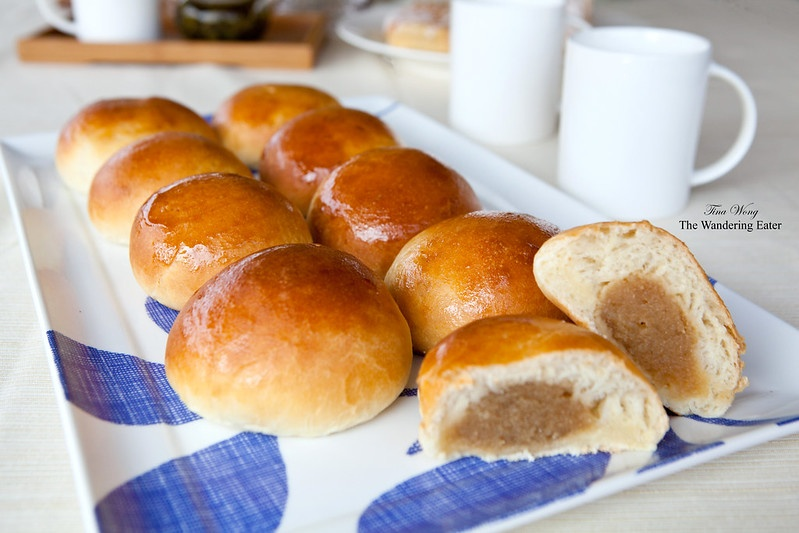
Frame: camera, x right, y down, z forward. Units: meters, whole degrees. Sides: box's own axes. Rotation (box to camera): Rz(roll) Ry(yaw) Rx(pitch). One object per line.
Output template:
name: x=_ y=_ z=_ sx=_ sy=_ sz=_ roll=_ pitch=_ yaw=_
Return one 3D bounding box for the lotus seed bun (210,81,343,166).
lotus seed bun: x=-0.223 y=-0.248 z=1.190 sx=0.158 sy=0.086 sz=0.159 roll=14 pitch=27 yaw=16

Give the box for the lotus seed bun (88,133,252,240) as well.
lotus seed bun: x=-0.346 y=-0.126 z=1.046 sx=0.177 sy=0.105 sz=0.172 roll=-6 pitch=34 yaw=-9

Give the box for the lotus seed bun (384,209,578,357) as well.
lotus seed bun: x=0.078 y=-0.005 z=0.811 sx=0.166 sy=0.102 sz=0.166 roll=3 pitch=15 yaw=30

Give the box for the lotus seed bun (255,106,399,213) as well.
lotus seed bun: x=-0.113 y=-0.174 z=1.051 sx=0.164 sy=0.093 sz=0.170 roll=-12 pitch=47 yaw=-17

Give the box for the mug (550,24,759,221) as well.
mug: x=0.309 y=-0.243 z=1.141 sx=0.346 sy=0.305 sz=0.215 roll=1 pitch=33 yaw=2

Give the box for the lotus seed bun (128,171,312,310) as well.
lotus seed bun: x=-0.223 y=-0.052 z=0.891 sx=0.179 sy=0.103 sz=0.178 roll=7 pitch=34 yaw=9

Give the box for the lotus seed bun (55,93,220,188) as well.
lotus seed bun: x=-0.423 y=-0.209 z=1.107 sx=0.169 sy=0.093 sz=0.172 roll=16 pitch=38 yaw=3

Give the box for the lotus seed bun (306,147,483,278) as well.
lotus seed bun: x=-0.002 y=-0.089 z=0.847 sx=0.170 sy=0.101 sz=0.177 roll=-4 pitch=34 yaw=-11
